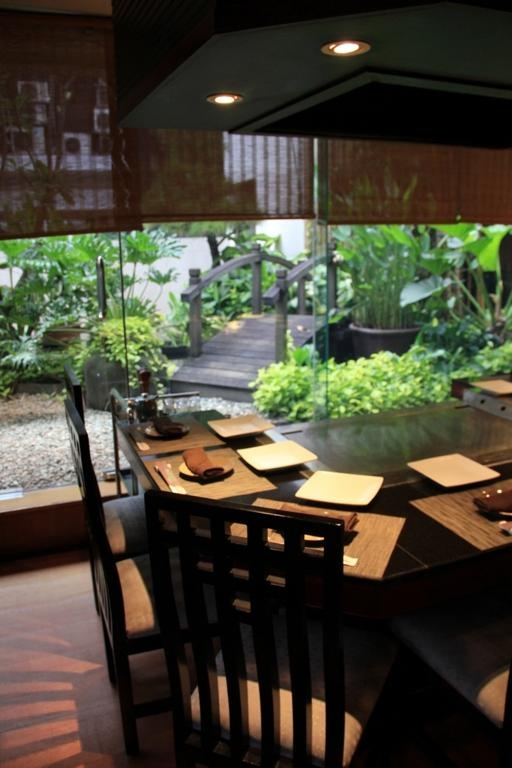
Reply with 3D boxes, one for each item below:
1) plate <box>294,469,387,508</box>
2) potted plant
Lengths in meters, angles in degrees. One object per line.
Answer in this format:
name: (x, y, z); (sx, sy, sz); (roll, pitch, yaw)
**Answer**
plate: (0.203, 0.254, 1.393); (0.106, 0.014, 0.106); (6, 22, 25)
potted plant: (0.680, -0.460, 2.999); (0.398, 0.711, 0.372); (9, 25, 23)
